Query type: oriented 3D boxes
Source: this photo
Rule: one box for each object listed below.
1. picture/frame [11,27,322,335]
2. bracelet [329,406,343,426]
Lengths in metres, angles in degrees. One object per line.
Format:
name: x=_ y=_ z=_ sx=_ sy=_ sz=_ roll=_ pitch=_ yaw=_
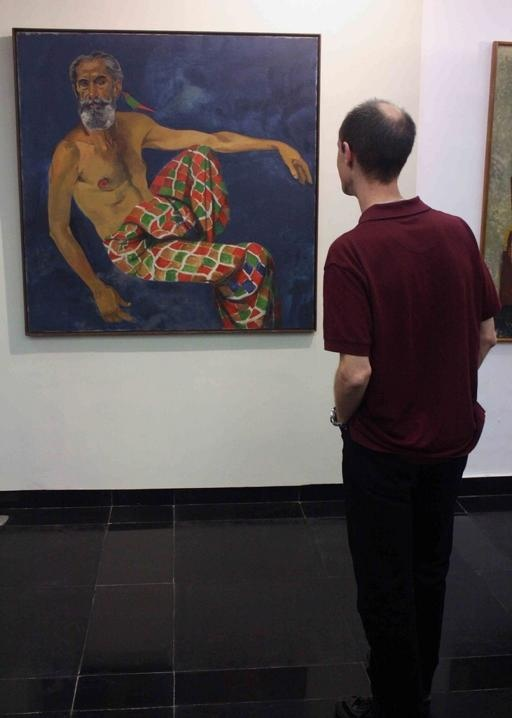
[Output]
picture/frame: x=-0.429 y=-0.824 z=3.036 sx=1.285 sy=1.665 sz=0.024 roll=-5 pitch=-25 yaw=-9
bracelet: x=0.212 y=0.139 z=1.777 sx=0.041 sy=0.069 sz=0.046 roll=-5 pitch=-14 yaw=4
